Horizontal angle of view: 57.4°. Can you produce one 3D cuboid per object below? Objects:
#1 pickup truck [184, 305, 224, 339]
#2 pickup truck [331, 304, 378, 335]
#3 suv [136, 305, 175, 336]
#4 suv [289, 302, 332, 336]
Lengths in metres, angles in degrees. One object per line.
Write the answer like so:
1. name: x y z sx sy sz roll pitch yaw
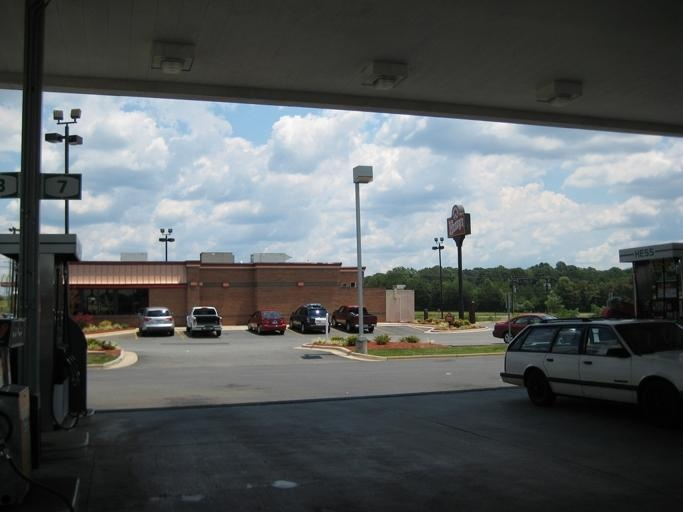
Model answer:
1. pickup truck: -8.963 4.223 39.834 1.557 1.583 4.008 1 -6 -12
2. pickup truck: 0.759 4.008 40.241 1.553 1.337 3.563 1 1 -19
3. suv: -11.580 4.051 38.573 1.897 1.753 2.336 -2 -2 -21
4. suv: -2.129 4.078 40.877 1.397 1.349 3.369 3 0 -21
